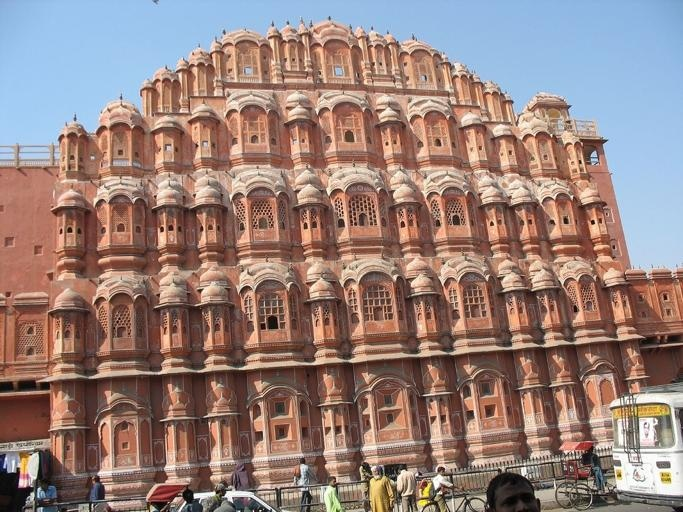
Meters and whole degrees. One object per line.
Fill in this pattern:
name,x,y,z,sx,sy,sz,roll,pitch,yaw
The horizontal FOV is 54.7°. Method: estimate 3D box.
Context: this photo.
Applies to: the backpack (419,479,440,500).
backpack,2.553,6.933,19.551,0.419,0.212,0.646,5,-29,-10
